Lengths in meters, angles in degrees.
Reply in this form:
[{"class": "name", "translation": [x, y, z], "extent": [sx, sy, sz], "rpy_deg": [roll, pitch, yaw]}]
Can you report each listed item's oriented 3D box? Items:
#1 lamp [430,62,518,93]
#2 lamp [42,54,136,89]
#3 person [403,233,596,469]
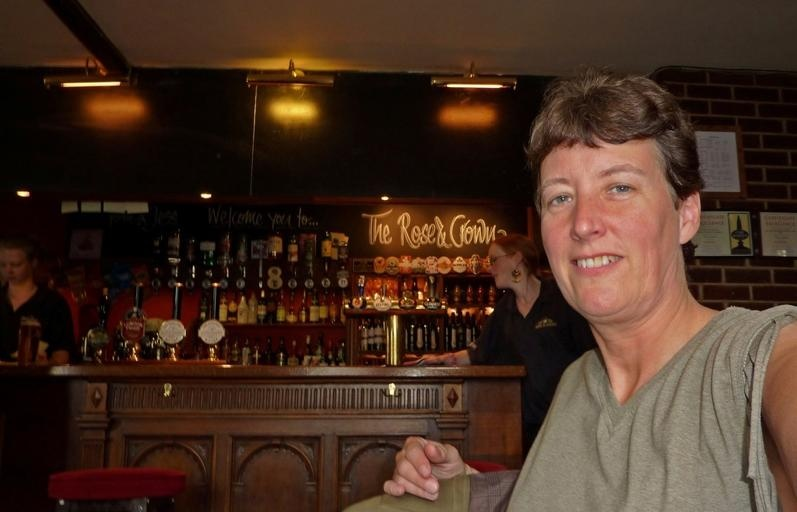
[{"class": "lamp", "translation": [0.663, -1.582, 6.825], "extent": [0.946, 0.373, 0.284], "rpy_deg": [1, 9, 7]}, {"class": "lamp", "translation": [-2.730, -1.583, 6.776], "extent": [0.586, 0.217, 0.421], "rpy_deg": [-3, 10, -16]}, {"class": "person", "translation": [0.984, 0.983, 6.313], "extent": [1.534, 2.628, 1.135], "rpy_deg": [8, -34, -3]}]
